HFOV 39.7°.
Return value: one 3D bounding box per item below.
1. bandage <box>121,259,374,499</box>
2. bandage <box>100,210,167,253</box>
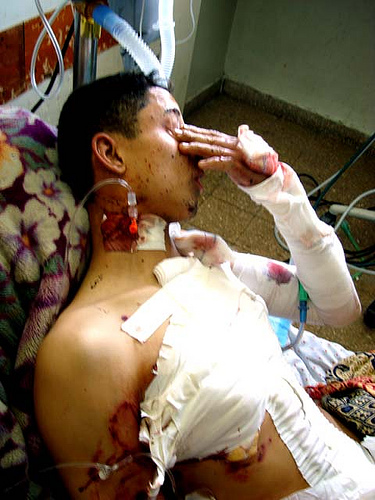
[{"bbox_3d":[0.081,0.233,0.935,0.311,0.193,0.505,-8,73,-42],"label":"bandage"},{"bbox_3d":[-0.113,-0.030,1.081,0.137,0.075,0.072,2,49,-12],"label":"bandage"}]
